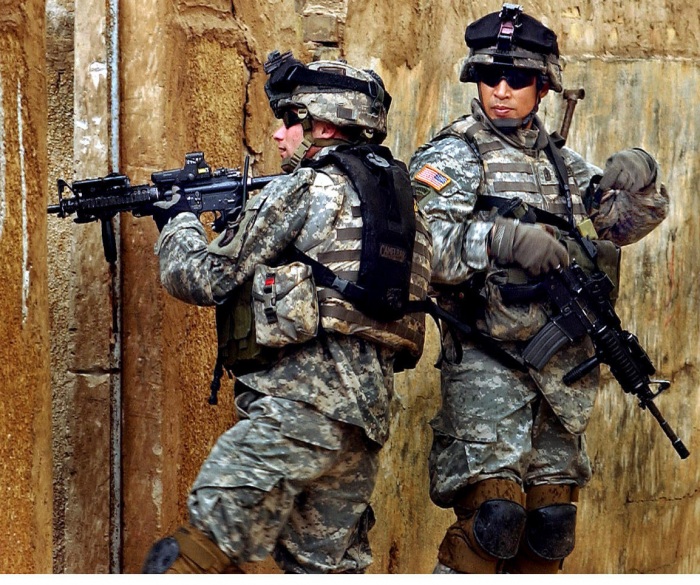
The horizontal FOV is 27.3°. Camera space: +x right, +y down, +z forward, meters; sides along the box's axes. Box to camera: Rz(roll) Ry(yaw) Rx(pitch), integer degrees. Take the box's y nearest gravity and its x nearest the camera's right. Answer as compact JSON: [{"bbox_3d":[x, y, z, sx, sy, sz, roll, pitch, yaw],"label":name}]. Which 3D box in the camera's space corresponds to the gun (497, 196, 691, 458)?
[{"bbox_3d":[1.249,0.229,7.559,0.597,1.530,0.179,-30,3,-19],"label":"gun"}]

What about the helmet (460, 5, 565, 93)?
[{"bbox_3d":[0.821,-1.261,7.357,0.397,0.362,0.440,7,23,12],"label":"helmet"}]

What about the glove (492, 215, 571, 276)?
[{"bbox_3d":[0.880,-0.229,7.037,0.245,0.173,0.331,17,-5,-44],"label":"glove"}]

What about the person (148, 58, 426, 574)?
[{"bbox_3d":[-0.233,0.083,6.600,1.225,2.407,0.568,4,-3,-9],"label":"person"}]

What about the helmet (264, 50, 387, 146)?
[{"bbox_3d":[-0.108,-0.887,6.749,0.445,0.355,0.365,3,-1,-8],"label":"helmet"}]
